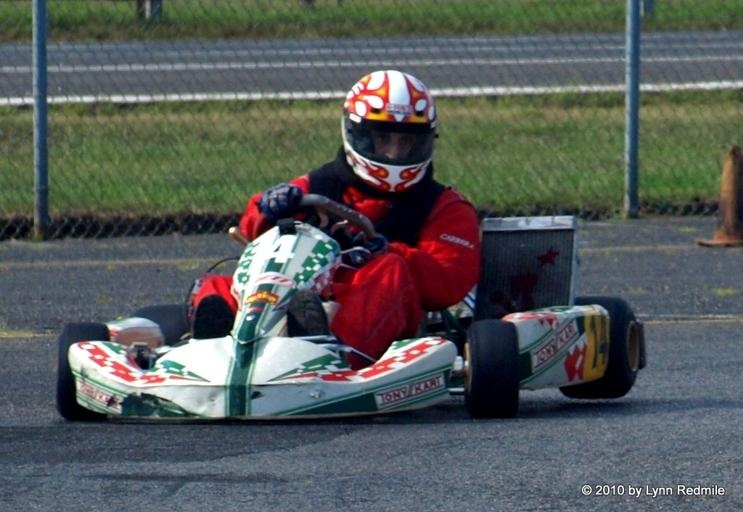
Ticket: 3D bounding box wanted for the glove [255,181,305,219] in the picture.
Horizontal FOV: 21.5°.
[{"bbox_3d":[-0.500,-0.344,11.635,0.287,0.158,0.381,-7,7,30],"label":"glove"}]
